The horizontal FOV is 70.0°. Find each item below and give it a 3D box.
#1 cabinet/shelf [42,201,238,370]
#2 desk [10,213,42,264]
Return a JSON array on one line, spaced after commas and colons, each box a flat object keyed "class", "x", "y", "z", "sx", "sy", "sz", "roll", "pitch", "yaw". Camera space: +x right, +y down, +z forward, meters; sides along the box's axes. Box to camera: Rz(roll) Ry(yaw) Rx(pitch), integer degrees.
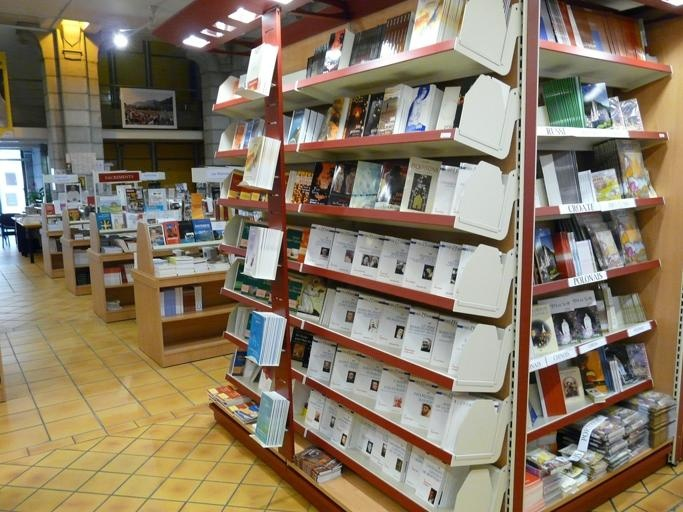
[{"class": "cabinet/shelf", "x": -2.499, "y": 0.372, "z": 6.410, "sx": 3.084, "sy": 1.729, "sz": 2.015, "roll": -5, "pitch": 8, "yaw": -40}, {"class": "desk", "x": -9.256, "y": -0.491, "z": 14.431, "sx": 0.563, "sy": 0.749, "sz": 1.680, "roll": -5, "pitch": 10, "yaw": -38}]
